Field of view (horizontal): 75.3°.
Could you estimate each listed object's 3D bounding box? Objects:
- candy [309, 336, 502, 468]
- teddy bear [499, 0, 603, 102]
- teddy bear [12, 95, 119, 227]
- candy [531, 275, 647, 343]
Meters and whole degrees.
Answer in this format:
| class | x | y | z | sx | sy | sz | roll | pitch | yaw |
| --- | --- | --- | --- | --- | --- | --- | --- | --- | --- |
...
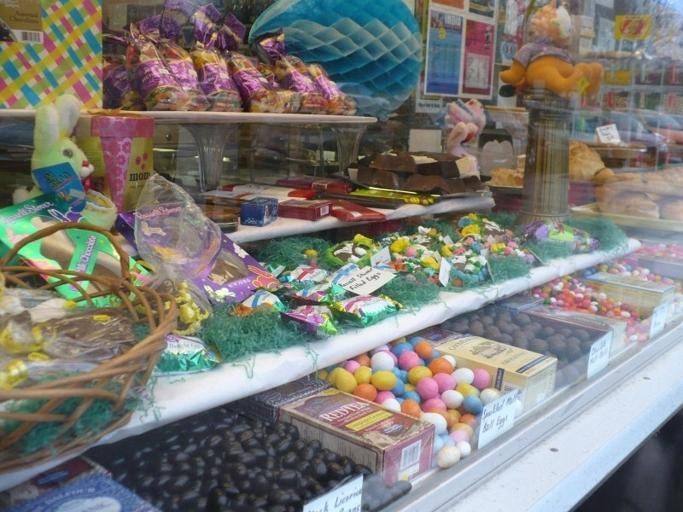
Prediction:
| class | x | y | z | sx | sy | sz | roll | pitch | yaw |
| --- | --- | --- | --- | --- | --- | --- | --- | --- | --- |
| candy | 0.159 | 0.330 | 1.147 | 0.412 | 0.102 | 0.292 | 16 | 21 | 39 |
| teddy bear | 0.779 | -0.703 | 1.723 | 0.358 | 0.323 | 0.415 | 4 | 10 | 31 |
| teddy bear | -0.571 | -0.181 | 0.894 | 0.180 | 0.279 | 0.117 | -7 | 17 | -14 |
| candy | 0.856 | 0.177 | 1.640 | 0.385 | 0.097 | 0.284 | 13 | 21 | 38 |
